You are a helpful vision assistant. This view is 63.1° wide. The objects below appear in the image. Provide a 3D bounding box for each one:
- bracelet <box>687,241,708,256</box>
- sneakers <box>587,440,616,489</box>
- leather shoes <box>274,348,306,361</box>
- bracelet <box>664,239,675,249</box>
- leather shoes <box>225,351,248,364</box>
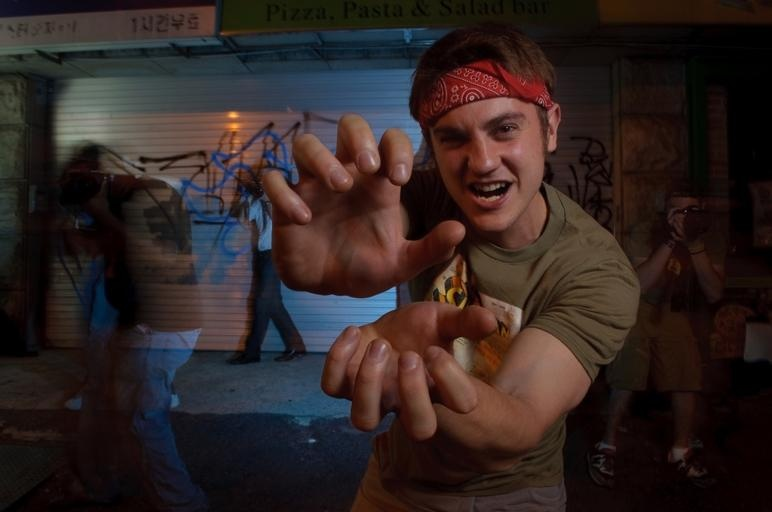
[{"bbox_3d":[4.284,-0.116,8.662,0.200,0.213,0.211,-17,-15,30],"label":"bracelet"},{"bbox_3d":[2.848,2.721,8.273,0.246,0.288,0.652,32,25,-14],"label":"sneakers"},{"bbox_3d":[-1.545,1.592,10.210,0.410,0.168,0.174,2,-5,-22],"label":"leather shoes"},{"bbox_3d":[3.984,-0.184,8.803,0.116,0.027,0.116,-3,34,15],"label":"bracelet"},{"bbox_3d":[-2.393,1.648,10.183,0.272,0.139,0.419,1,3,4],"label":"leather shoes"}]
